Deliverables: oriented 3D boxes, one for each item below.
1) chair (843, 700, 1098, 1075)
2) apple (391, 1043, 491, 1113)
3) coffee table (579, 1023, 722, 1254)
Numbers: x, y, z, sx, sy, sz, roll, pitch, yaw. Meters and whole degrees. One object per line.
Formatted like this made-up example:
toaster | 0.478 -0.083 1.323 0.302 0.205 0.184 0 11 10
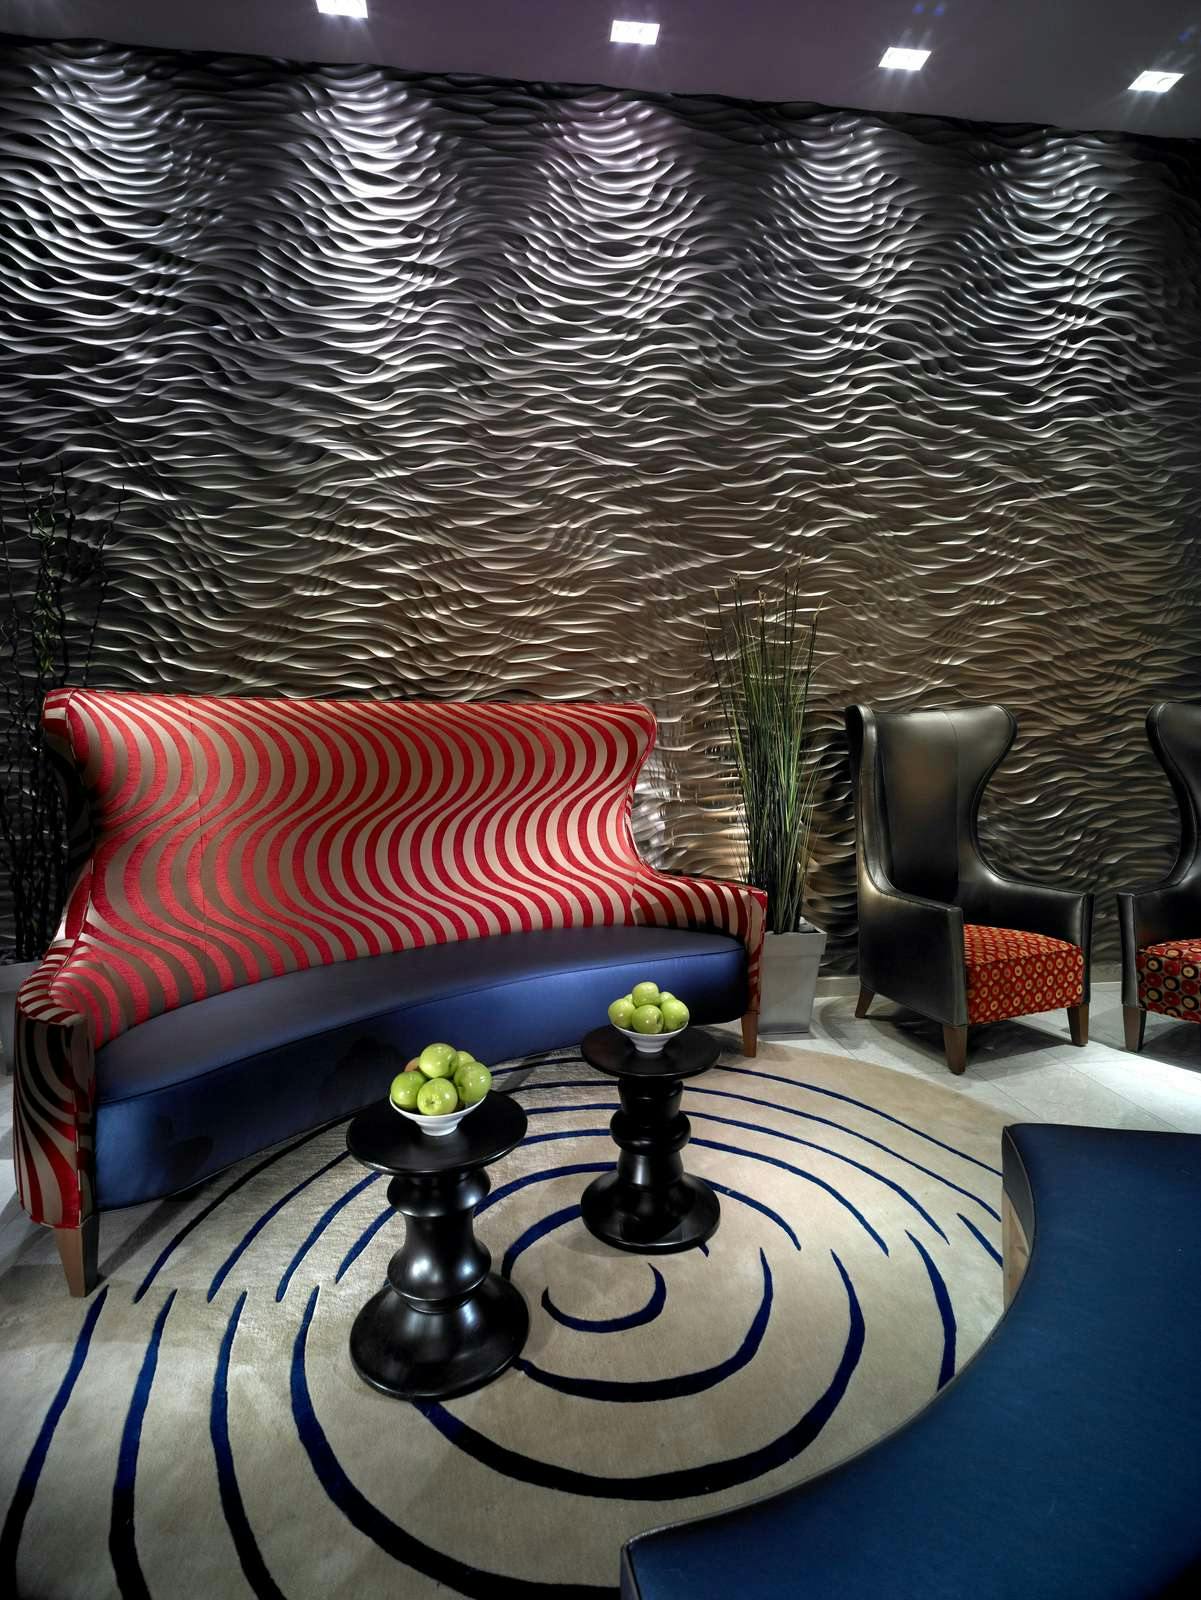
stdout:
chair | 1.052 0.216 3.222 0.553 0.914 0.686 -4 12 -15
apple | -0.260 0.472 1.899 0.135 0.061 0.129 -12 -2 -43
coffee table | 0.100 0.668 2.218 0.332 0.352 0.339 0 2 0
